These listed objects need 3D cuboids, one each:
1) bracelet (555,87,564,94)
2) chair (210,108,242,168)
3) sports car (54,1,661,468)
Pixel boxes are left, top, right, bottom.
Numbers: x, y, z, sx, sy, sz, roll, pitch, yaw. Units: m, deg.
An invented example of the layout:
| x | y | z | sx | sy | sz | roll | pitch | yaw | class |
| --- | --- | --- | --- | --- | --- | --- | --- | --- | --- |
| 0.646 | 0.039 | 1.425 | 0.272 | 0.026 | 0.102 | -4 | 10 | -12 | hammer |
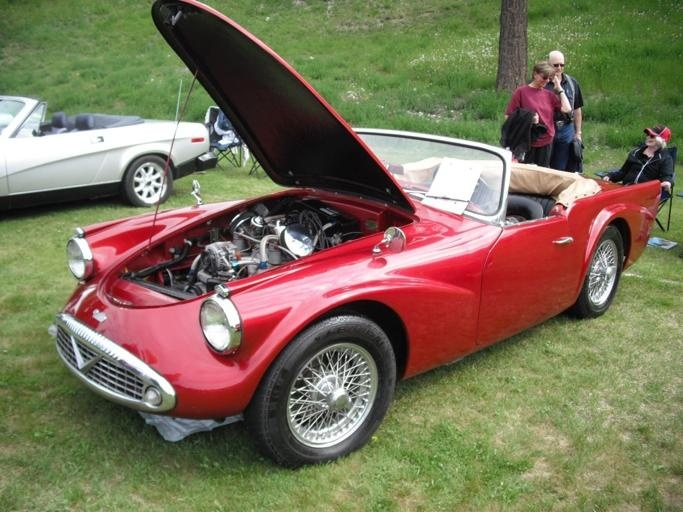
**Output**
| x | y | z | sx | sy | sz | roll | pitch | yaw | class |
| --- | --- | --- | --- | --- | --- | --- | --- | --- | --- |
| 2.584 | -1.882 | 6.598 | 0.070 | 0.053 | 0.076 | -7 | 1 | -26 | bracelet |
| -2.113 | -1.970 | 10.203 | 0.475 | 0.792 | 0.560 | -6 | 5 | -7 | chair |
| 0.067 | -0.368 | 4.141 | 4.254 | 2.717 | 2.023 | -16 | 32 | -25 | sports car |
